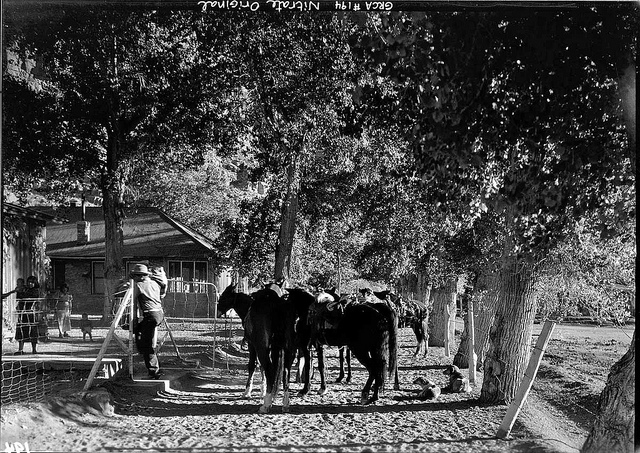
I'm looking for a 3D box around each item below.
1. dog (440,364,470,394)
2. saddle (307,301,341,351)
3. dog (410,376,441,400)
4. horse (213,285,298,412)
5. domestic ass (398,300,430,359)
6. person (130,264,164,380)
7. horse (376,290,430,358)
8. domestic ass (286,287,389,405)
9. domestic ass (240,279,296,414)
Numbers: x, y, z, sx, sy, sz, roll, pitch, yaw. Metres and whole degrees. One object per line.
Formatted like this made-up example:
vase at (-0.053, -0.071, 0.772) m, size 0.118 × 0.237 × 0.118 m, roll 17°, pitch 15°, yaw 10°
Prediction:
dog at (3.638, 4.145, 17.176) m, size 0.378 × 0.609 × 1.128 m, roll 2°, pitch -7°, yaw -1°
saddle at (0.103, 2.439, 15.978) m, size 0.535 × 1.140 × 1.032 m, roll 7°, pitch -1°, yaw -25°
dog at (2.686, 4.133, 16.200) m, size 0.365 × 0.432 × 0.693 m, roll 4°, pitch -5°, yaw -18°
horse at (-1.586, 2.871, 15.815) m, size 0.980 × 3.124 × 3.918 m, roll 0°, pitch -4°, yaw -26°
domestic ass at (3.453, 3.621, 23.275) m, size 0.498 × 2.163 × 2.357 m, roll -6°, pitch 2°, yaw -13°
person at (-4.222, 2.370, 15.636) m, size 0.676 × 2.836 × 0.590 m, roll 1°, pitch 4°, yaw -7°
horse at (2.733, 3.303, 22.155) m, size 3.129 × 2.457 × 0.711 m, roll 8°, pitch -5°, yaw -33°
domestic ass at (0.315, 2.930, 16.034) m, size 2.924 × 2.758 × 0.852 m, roll 0°, pitch 1°, yaw 24°
domestic ass at (-1.157, 2.784, 14.904) m, size 1.035 × 2.924 × 1.467 m, roll 1°, pitch 3°, yaw -14°
